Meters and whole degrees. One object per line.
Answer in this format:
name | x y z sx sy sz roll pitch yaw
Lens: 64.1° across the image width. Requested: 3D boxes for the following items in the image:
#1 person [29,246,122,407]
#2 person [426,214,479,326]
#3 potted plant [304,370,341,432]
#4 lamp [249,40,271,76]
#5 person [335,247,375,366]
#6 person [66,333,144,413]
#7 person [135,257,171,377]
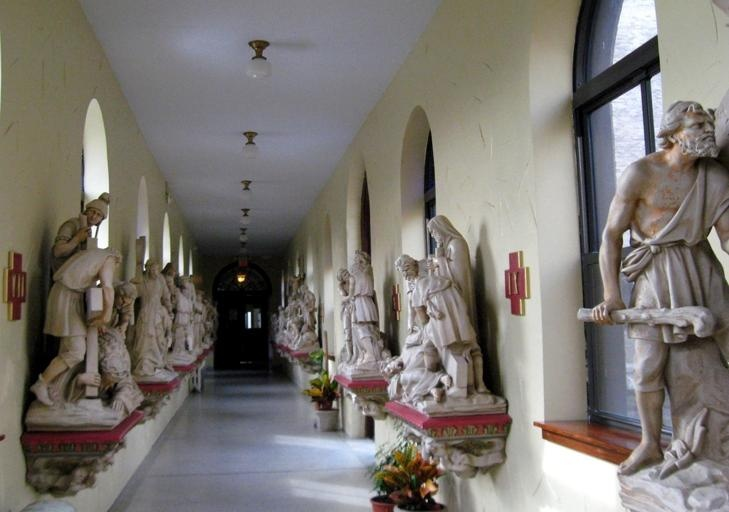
person | -2.285 0.550 4.614 0.579 1.239 0.242 -1 -4 0
person | 0.748 0.172 5.092 0.327 1.085 0.370 -17 19 -29
potted plant | -0.758 2.607 10.351 0.533 0.932 0.668 -1 -18 -9
lamp | -1.131 -2.092 6.203 0.219 0.450 0.569 0 -5 -10
person | -0.063 0.664 7.592 0.469 1.478 0.771 1 -4 -14
person | -2.166 0.991 4.925 0.718 0.724 0.548 0 8 -25
person | -2.757 0.808 7.580 0.479 1.570 0.747 1 -5 -22
